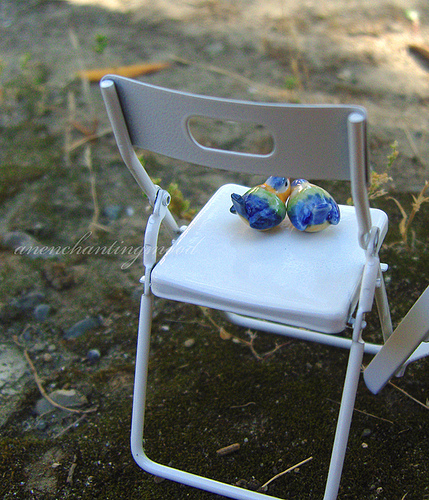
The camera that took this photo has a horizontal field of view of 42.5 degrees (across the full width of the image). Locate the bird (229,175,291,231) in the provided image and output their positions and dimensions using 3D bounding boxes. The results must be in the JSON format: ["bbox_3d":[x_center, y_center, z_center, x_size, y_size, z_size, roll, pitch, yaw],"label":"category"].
[{"bbox_3d":[0.122,-0.128,1.265,0.158,0.095,0.106,-29,45,-24],"label":"bird"}]

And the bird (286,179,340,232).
[{"bbox_3d":[0.213,-0.095,1.262,0.100,0.064,0.118,-24,65,-8],"label":"bird"}]
